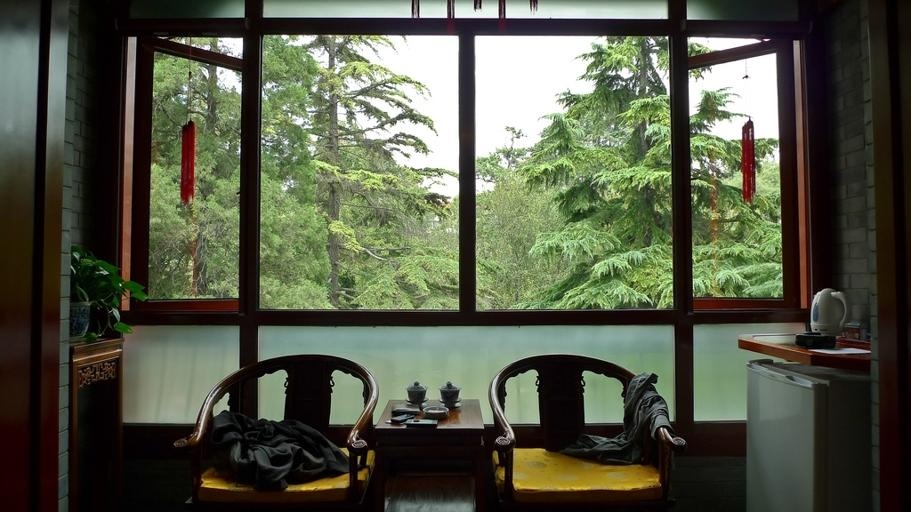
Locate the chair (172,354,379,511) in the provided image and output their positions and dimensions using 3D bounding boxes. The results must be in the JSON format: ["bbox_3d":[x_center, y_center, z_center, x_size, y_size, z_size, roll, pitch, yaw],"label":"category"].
[{"bbox_3d":[-1.140,1.171,4.623,1.211,0.800,0.623,0,0,0],"label":"chair"}]

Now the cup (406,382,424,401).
[{"bbox_3d":[-0.277,0.968,4.860,0.126,0.111,0.123,-3,-9,0],"label":"cup"}]

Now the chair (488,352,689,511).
[{"bbox_3d":[0.681,1.213,4.888,1.255,1.324,1.043,1,-19,-2],"label":"chair"}]

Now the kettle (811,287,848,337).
[{"bbox_3d":[2.601,0.385,4.740,0.231,0.293,0.304,2,-1,-10],"label":"kettle"}]

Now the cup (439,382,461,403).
[{"bbox_3d":[-0.042,0.964,4.839,0.138,0.116,0.128,-1,-15,0],"label":"cup"}]
